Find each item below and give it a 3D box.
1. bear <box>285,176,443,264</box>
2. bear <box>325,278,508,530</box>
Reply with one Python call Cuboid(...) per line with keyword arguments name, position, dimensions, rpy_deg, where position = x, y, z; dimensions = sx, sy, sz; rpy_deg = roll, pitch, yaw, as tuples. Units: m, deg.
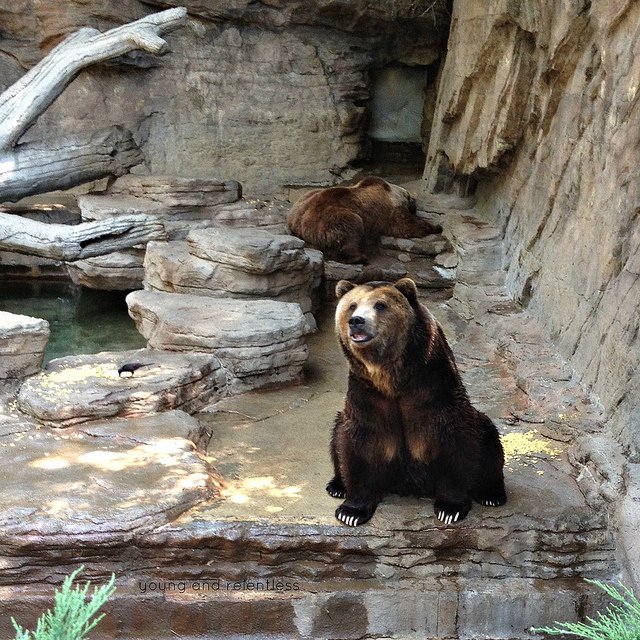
Cuboid(name="bear", position=(0.451, -1.275, 9.745), dimensions=(1.975, 0.726, 1.059), rpy_deg=(-15, 27, -27))
Cuboid(name="bear", position=(0.547, 0.464, 4.337), dimensions=(0.947, 1.365, 0.403), rpy_deg=(1, 7, -13))
